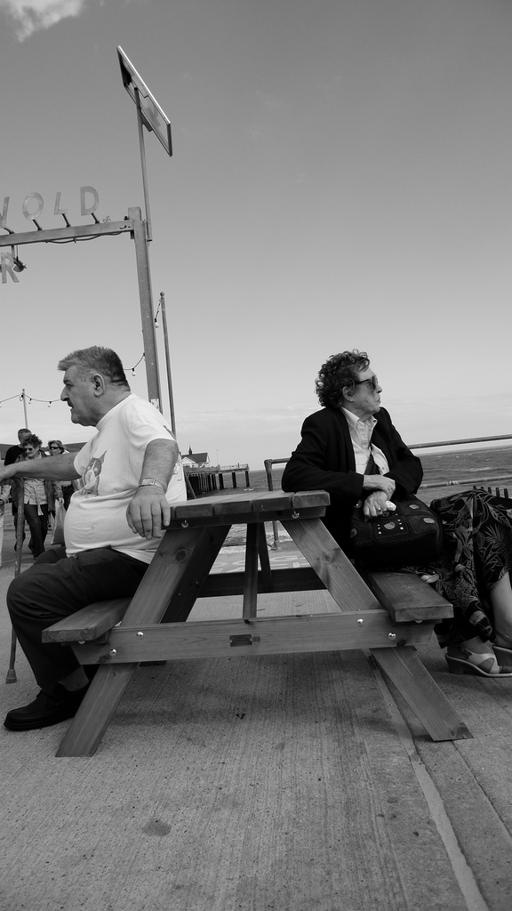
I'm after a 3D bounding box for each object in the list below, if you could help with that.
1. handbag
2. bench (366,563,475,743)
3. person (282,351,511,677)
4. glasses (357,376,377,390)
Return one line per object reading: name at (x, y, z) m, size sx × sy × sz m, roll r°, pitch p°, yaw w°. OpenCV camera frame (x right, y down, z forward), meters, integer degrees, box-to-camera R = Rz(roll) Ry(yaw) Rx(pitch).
handbag at (0.590, 0.390, 2.605) m, size 0.371 × 0.230 × 0.453 m, roll -10°, pitch 7°, yaw -10°
bench at (0.597, 0.738, 2.093) m, size 0.306 × 0.507 × 0.587 m, roll -2°, pitch -5°, yaw 3°
person at (0.796, 0.374, 3.363) m, size 1.504 × 1.992 × 0.893 m, roll -17°, pitch -16°, yaw 36°
glasses at (0.618, -0.400, 3.031) m, size 0.080 × 0.030 × 0.082 m, roll 6°, pitch -5°, yaw -41°
